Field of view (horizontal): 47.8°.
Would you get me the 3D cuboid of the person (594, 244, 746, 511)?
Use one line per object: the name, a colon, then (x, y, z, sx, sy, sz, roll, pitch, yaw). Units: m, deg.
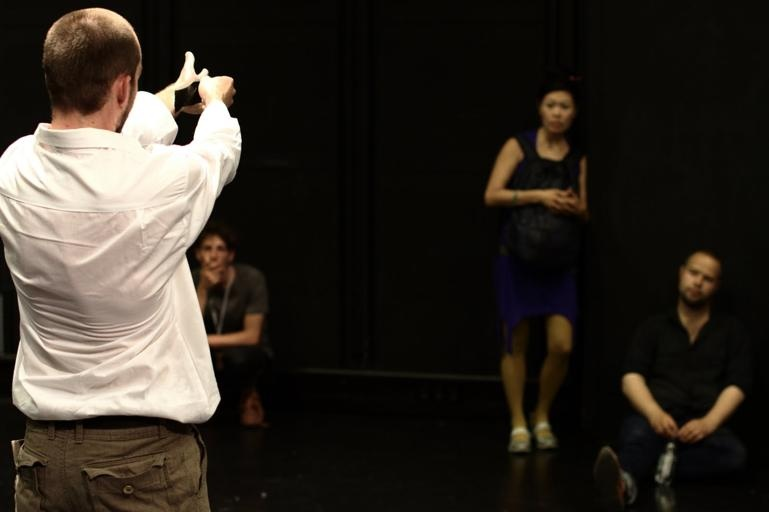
person: (1.420, 0.557, 4.265, 0.867, 1.047, 0.468, -6, 14, -23)
